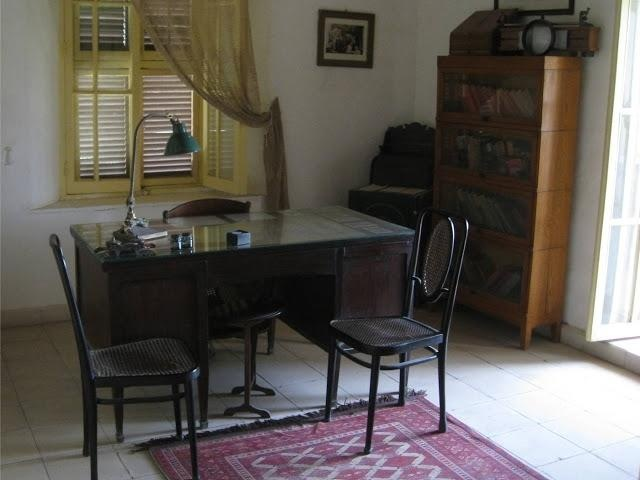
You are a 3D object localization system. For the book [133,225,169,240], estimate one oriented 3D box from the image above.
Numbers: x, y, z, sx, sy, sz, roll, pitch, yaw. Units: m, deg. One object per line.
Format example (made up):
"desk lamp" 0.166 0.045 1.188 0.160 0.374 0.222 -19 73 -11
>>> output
"book" -0.954 -0.038 3.027 0.107 0.024 0.100 -7 20 -33

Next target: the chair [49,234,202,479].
"chair" -0.897 0.510 2.618 0.555 1.112 0.746 -8 16 -24

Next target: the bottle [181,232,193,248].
"bottle" -0.701 0.005 2.896 0.032 0.056 0.058 14 25 22

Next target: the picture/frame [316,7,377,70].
"picture/frame" 0.195 -1.729 4.748 0.601 0.486 0.050 -1 16 -27
